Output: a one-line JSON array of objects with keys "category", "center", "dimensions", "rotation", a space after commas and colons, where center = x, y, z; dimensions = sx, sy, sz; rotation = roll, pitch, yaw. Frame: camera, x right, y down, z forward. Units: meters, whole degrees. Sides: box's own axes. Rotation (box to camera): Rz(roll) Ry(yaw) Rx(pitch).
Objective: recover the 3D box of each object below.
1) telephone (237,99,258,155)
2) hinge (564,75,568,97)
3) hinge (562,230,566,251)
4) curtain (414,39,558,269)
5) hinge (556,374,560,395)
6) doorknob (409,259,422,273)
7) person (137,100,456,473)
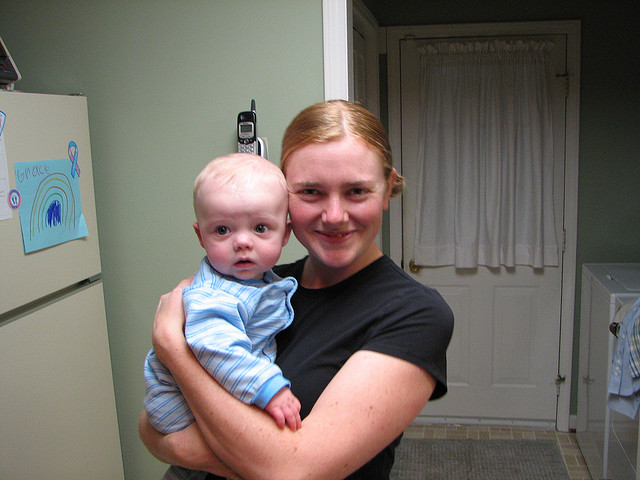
[{"category": "telephone", "center": [-0.319, -0.477, 2.255], "dimensions": [0.083, 0.180, 0.054], "rotation": [0, 7, -8]}, {"category": "hinge", "center": [1.731, -1.076, 3.553], "dimensions": [0.022, 0.150, 0.011], "rotation": [2, 7, 9]}, {"category": "hinge", "center": [1.777, 0.003, 3.683], "dimensions": [0.019, 0.152, 0.010], "rotation": [2, 7, 8]}, {"category": "curtain", "center": [1.234, -0.587, 3.679], "dimensions": [1.018, 1.613, 0.101], "rotation": [2, 7, 7]}, {"category": "hinge", "center": [1.799, 1.088, 3.819], "dimensions": [0.036, 0.160, 0.017], "rotation": [-4, 8, -30]}, {"category": "doorknob", "center": [0.728, 0.201, 3.888], "dimensions": [0.083, 0.096, 0.022], "rotation": [-1, -2, 42]}, {"category": "person", "center": [-0.061, 0.086, 1.364], "dimensions": [0.736, 0.915, 0.518], "rotation": [-3, 8, -25]}]
